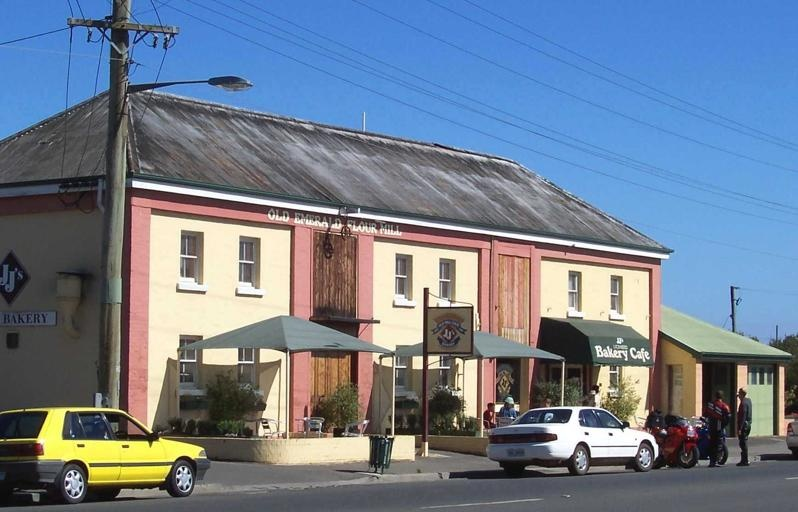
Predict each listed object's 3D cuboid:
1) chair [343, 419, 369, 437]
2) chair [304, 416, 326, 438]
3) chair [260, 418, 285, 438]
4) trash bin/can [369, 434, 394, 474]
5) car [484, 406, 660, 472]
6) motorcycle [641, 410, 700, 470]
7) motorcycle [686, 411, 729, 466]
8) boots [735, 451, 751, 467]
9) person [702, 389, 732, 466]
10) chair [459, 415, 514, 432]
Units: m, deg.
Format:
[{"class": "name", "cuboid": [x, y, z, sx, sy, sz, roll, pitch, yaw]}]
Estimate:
[{"class": "chair", "cuboid": [-1.561, 5.836, 47.958, 0.530, 0.527, 0.979, 1, 2, -25]}, {"class": "chair", "cuboid": [-2.990, 5.775, 47.717, 0.655, 0.674, 0.540, 2, -16, -9]}, {"class": "chair", "cuboid": [-4.436, 5.711, 46.789, 0.562, 1.063, 0.751, 4, -10, -32]}, {"class": "trash bin/can", "cuboid": [-0.596, 5.970, 42.459, 0.949, 1.072, 0.939, 2, -9, -10]}, {"class": "car", "cuboid": [5.407, 5.665, 43.137, 5.033, 2.095, 1.402, 6, -13, -23]}, {"class": "motorcycle", "cuboid": [8.927, 5.998, 45.717, 2.414, 1.494, 1.040, -8, -11, 41]}, {"class": "motorcycle", "cuboid": [10.072, 5.926, 46.399, 0.867, 1.258, 2.020, 2, -2, -27]}, {"class": "boots", "cuboid": [11.449, 6.696, 46.148, 0.407, 0.515, 1.369, -2, -12, 14]}, {"class": "person", "cuboid": [10.548, 5.574, 45.617, 0.825, 2.349, 0.860, -1, -3, -42]}, {"class": "chair", "cuboid": [2.837, 6.001, 49.975, 1.170, 0.405, 0.876, 0, -4, 18]}]
